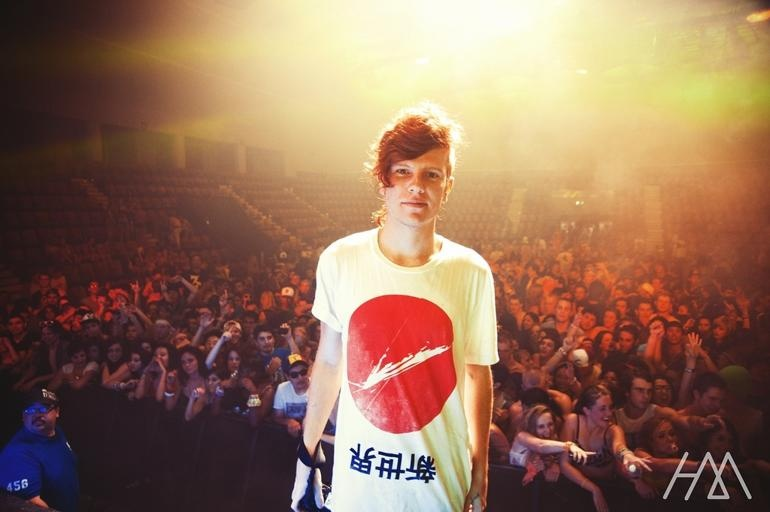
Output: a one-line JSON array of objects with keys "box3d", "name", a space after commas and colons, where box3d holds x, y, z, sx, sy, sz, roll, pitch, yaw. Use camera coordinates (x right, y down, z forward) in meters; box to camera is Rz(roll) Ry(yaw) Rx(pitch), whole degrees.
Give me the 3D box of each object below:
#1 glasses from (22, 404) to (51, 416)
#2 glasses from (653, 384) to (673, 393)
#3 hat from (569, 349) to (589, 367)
[{"box3d": [-4.093, 1.802, 5.990, 0.268, 0.138, 0.056, 2, -3, 2], "name": "glasses"}, {"box3d": [3.315, 1.567, 6.100, 0.248, 0.188, 0.055, 4, -4, -18], "name": "glasses"}, {"box3d": [2.469, 1.307, 6.537, 0.177, 0.237, 0.242, 3, -3, 15], "name": "hat"}]
